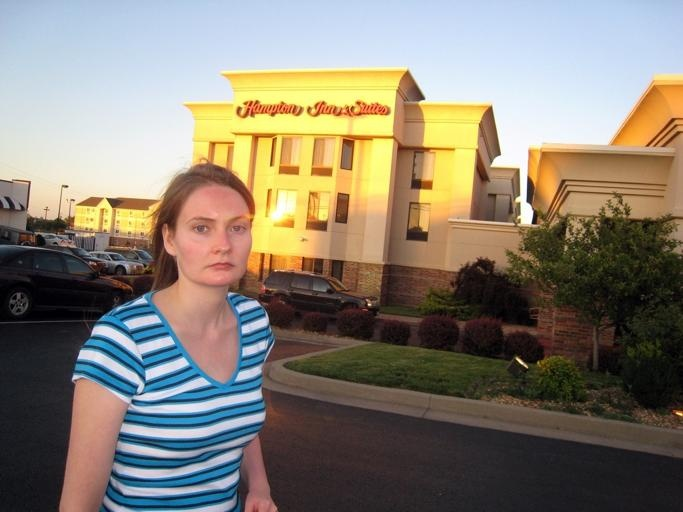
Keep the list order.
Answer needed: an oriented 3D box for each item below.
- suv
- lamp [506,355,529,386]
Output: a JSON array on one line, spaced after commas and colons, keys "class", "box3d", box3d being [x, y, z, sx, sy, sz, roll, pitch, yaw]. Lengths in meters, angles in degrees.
[{"class": "suv", "box3d": [-1.020, 1.805, 21.433, 5.099, 2.065, 2.328, 1, 1, 10]}, {"class": "lamp", "box3d": [3.713, 2.368, 9.416, 0.408, 0.537, 0.888, 5, 0, 23]}]
